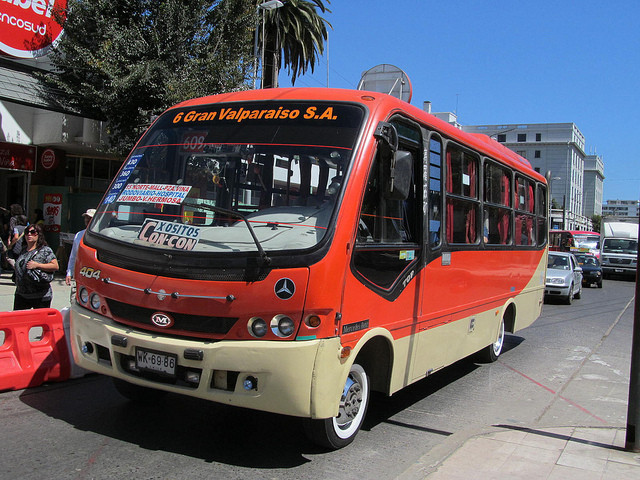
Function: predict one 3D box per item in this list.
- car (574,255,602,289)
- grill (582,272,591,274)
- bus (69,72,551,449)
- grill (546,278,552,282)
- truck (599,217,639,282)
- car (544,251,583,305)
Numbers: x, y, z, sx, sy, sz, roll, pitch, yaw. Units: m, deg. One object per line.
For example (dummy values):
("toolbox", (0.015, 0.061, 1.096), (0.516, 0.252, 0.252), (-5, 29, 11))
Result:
("car", (16.381, 1.538, 27.549), (1.605, 1.467, 3.986), (-2, 10, 32))
("grill", (15.384, 1.905, 25.760), (0.283, 0.083, 0.068), (4, 0, 29))
("bus", (0.876, -0.060, 7.458), (3.758, 3.861, 8.147), (6, 3, 33))
("grill", (9.027, 1.579, 17.644), (0.089, 0.155, 0.188), (4, 0, -30))
("truck", (22.858, 0.424, 34.223), (2.309, 4.956, 3.420), (4, 0, 32))
("car", (10.276, 1.518, 18.987), (1.936, 1.569, 3.639), (-2, -5, 28))
